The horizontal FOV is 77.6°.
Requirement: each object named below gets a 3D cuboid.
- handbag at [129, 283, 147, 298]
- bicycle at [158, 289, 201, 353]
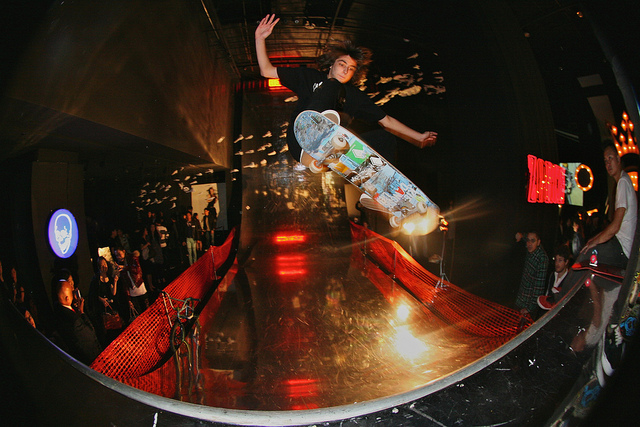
[{"bbox_3d":[-1.429,0.603,3.132,0.069,0.121,0.088,-13,71,12],"label":"handbag"},{"bbox_3d":[-1.160,0.829,3.228,0.275,0.566,0.381,5,91,-17],"label":"bicycle"}]
